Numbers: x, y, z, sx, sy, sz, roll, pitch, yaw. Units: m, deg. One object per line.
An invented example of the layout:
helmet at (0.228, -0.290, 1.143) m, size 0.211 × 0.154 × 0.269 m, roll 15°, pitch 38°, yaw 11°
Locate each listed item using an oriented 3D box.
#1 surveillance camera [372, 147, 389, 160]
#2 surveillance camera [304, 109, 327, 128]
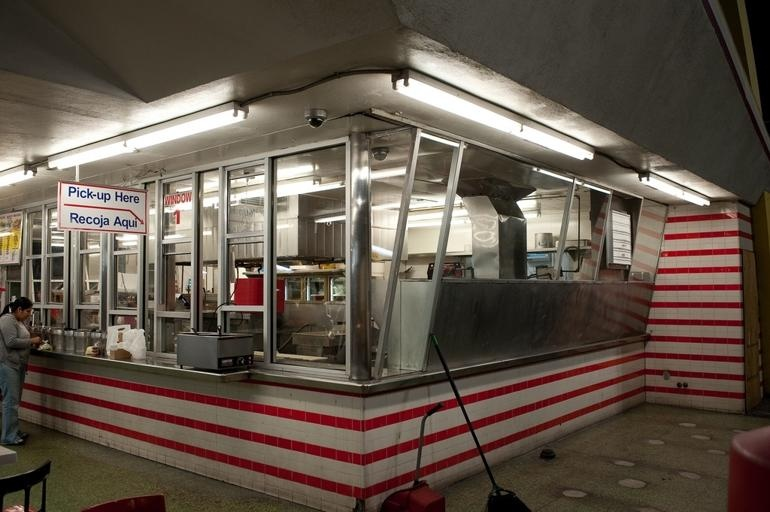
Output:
surveillance camera at (-0.055, -1.129, 5.900) m, size 0.163 × 0.107 × 0.043 m, roll -1°, pitch -3°, yaw -36°
surveillance camera at (-0.689, -1.393, 5.424) m, size 0.173 × 0.120 × 0.169 m, roll -2°, pitch -3°, yaw 30°
